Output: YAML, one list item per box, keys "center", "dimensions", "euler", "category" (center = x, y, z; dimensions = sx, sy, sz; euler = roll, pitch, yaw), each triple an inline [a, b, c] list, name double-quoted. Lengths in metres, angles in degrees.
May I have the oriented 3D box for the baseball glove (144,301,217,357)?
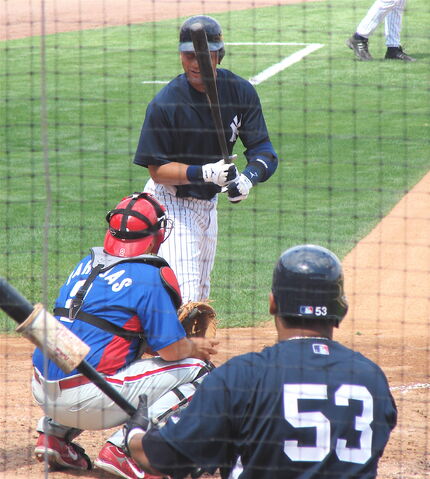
- center: [-0.219, 0.512, 7.982]
  dimensions: [0.221, 0.351, 0.447]
  euler: [13, 64, 33]
  category: "baseball glove"

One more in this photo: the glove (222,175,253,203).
- center: [0.166, -0.352, 8.292]
  dimensions: [0.205, 0.097, 0.170]
  euler: [-44, -2, -12]
  category: "glove"

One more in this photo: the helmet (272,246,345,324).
- center: [0.534, 0.264, 6.677]
  dimensions: [0.482, 0.469, 0.374]
  euler: [-2, 14, -17]
  category: "helmet"

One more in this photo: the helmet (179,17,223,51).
- center: [-0.110, -1.475, 8.366]
  dimensions: [0.357, 0.230, 0.484]
  euler: [1, 16, 8]
  category: "helmet"

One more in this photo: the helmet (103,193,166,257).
- center: [-0.497, -0.108, 7.538]
  dimensions: [0.371, 0.362, 0.407]
  euler: [14, 47, 15]
  category: "helmet"

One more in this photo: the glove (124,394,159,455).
- center: [-0.429, 1.022, 6.667]
  dimensions: [0.219, 0.116, 0.324]
  euler: [-3, 45, -3]
  category: "glove"
